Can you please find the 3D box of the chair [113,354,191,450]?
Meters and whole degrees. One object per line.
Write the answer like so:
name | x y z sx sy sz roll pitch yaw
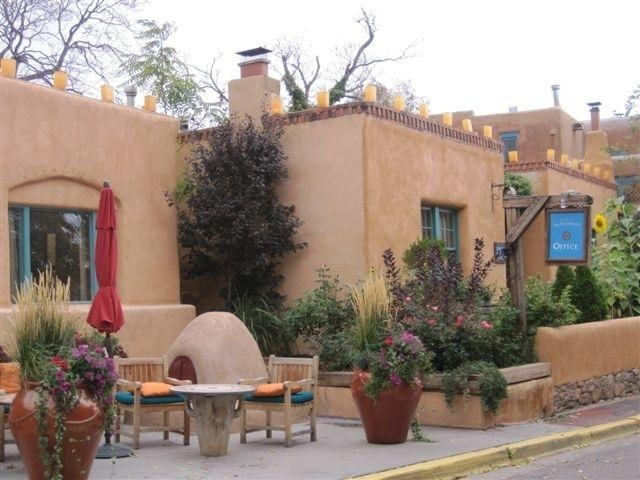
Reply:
chair | -2.518 2.395 15.339 0.953 1.366 0.917 5 -7 -43

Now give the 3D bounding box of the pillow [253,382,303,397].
pillow | -0.632 2.213 15.255 0.697 0.209 0.570 -2 -5 -5

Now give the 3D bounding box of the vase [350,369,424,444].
vase | 1.009 2.461 15.505 1.088 1.249 1.148 -1 -9 11

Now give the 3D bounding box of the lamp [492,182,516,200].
lamp | 3.919 -1.053 22.325 0.291 0.453 1.038 1 1 31

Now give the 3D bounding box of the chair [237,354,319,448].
chair | -0.619 2.393 15.527 0.930 1.349 0.946 -2 -5 36
